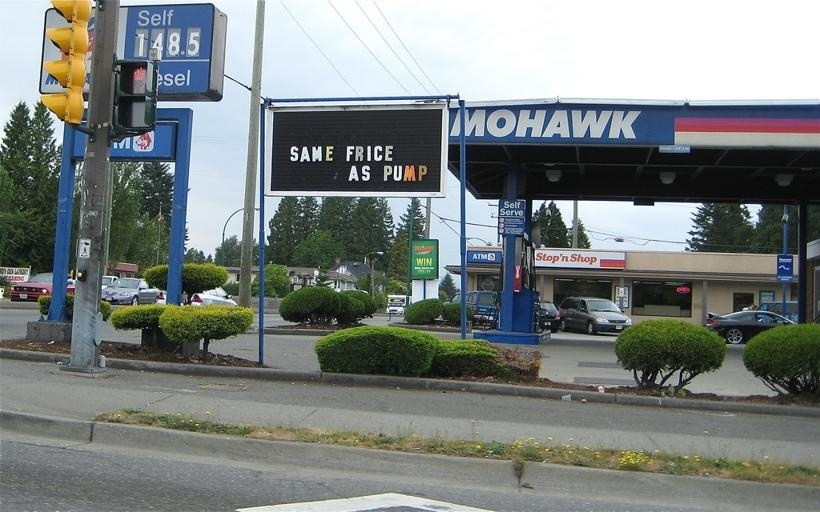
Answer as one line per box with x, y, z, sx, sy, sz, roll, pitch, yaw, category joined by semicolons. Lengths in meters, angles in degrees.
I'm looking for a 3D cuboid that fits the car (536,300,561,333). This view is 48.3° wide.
6.695;2.982;43.729;1.095;0.949;2.231;0;6;3;car

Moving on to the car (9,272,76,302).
-18.768;1.575;45.376;3.045;1.227;1.386;2;-2;40;car

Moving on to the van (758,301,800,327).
17.538;2.833;43.464;2.402;1.188;1.412;-3;-4;34;van

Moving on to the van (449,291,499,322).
3.280;2.344;42.735;1.175;1.031;2.187;0;5;-22;van

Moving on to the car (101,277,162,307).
-13.990;1.746;45.396;1.950;1.067;2.669;3;-1;-1;car

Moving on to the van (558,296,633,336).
8.630;2.818;43.203;1.484;1.599;3.838;4;-1;-23;van

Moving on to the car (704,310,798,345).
11.969;2.489;32.185;3.181;0.943;1.931;-4;1;2;car
